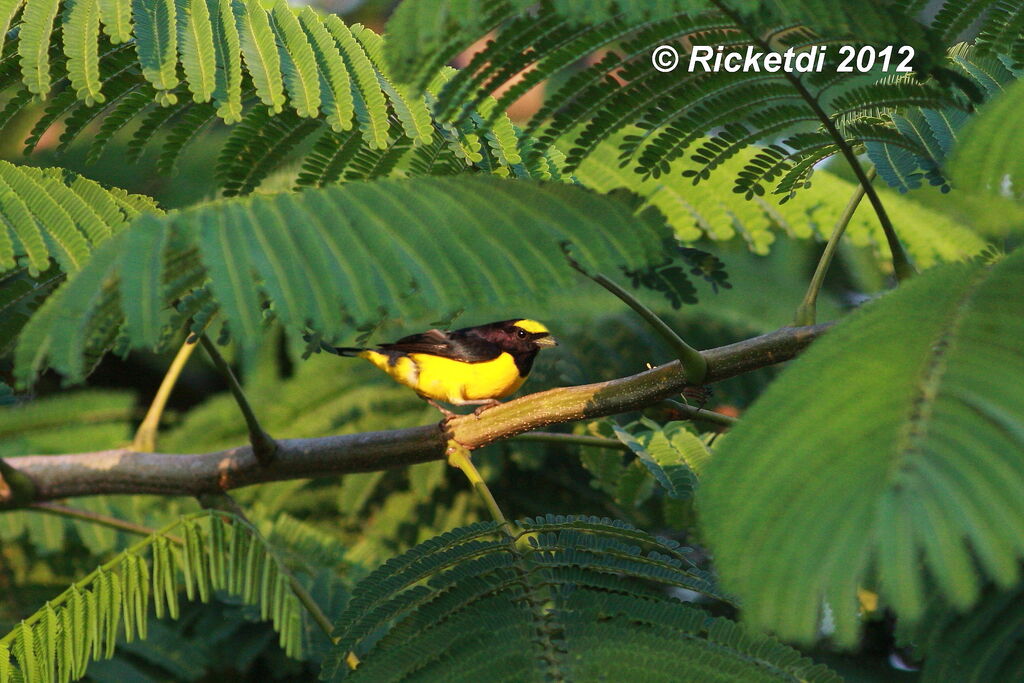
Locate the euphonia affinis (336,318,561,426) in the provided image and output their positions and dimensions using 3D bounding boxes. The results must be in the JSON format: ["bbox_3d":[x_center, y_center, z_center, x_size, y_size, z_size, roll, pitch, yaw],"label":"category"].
[{"bbox_3d":[-0.186,0.115,6.435,1.116,0.439,0.336,6,-15,-7],"label":"euphonia affinis"}]
